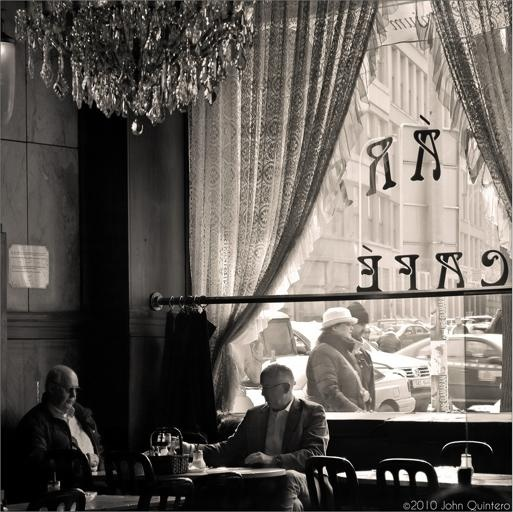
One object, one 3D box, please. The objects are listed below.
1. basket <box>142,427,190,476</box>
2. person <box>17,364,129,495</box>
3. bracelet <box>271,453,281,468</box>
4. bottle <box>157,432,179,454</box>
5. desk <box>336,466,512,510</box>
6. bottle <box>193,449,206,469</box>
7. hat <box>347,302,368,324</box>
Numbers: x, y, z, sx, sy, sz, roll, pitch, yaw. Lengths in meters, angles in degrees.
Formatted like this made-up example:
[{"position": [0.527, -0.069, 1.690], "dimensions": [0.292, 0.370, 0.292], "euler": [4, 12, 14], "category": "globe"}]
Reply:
[{"position": [-0.538, 1.199, 5.235], "dimensions": [0.220, 0.275, 0.252], "euler": [2, -6, -12], "category": "basket"}, {"position": [-1.172, 1.158, 5.498], "dimensions": [0.624, 0.862, 0.538], "euler": [-2, -7, 30], "category": "person"}, {"position": [0.131, 1.355, 5.570], "dimensions": [0.048, 0.086, 0.075], "euler": [1, -11, 1], "category": "bracelet"}, {"position": [-0.561, 1.194, 5.379], "dimensions": [0.098, 0.120, 0.195], "euler": [-1, -9, 2], "category": "bottle"}, {"position": [1.028, 1.401, 5.052], "dimensions": [1.006, 0.230, 0.593], "euler": [2, -7, -2], "category": "desk"}, {"position": [-0.364, 1.285, 5.285], "dimensions": [0.063, 0.122, 0.112], "euler": [2, -3, -7], "category": "bottle"}, {"position": [0.711, 0.393, 5.847], "dimensions": [0.097, 0.117, 0.132], "euler": [-16, -9, -45], "category": "hat"}]
